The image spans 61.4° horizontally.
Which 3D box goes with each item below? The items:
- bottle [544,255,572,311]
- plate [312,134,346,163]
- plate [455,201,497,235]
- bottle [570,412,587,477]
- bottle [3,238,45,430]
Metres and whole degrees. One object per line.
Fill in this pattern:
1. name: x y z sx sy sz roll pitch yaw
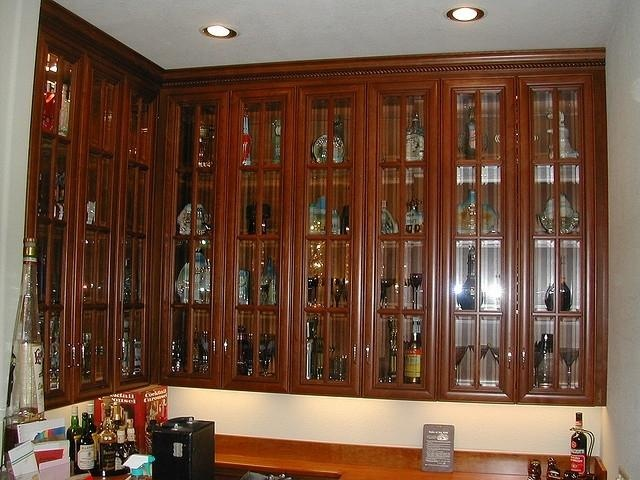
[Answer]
1. bottle: 1.398 0.312 3.134 0.153 0.438 0.162 1 -3 0
2. plate: 0.050 -0.556 3.398 0.167 0.192 0.042 -4 1 26
3. plate: 0.941 -0.121 3.218 0.167 0.173 0.023 0 -4 7
4. bottle: 1.525 1.183 3.177 0.104 0.359 0.257 -3 -6 25
5. bottle: -1.335 0.410 2.460 0.077 0.815 0.222 -1 -6 6
